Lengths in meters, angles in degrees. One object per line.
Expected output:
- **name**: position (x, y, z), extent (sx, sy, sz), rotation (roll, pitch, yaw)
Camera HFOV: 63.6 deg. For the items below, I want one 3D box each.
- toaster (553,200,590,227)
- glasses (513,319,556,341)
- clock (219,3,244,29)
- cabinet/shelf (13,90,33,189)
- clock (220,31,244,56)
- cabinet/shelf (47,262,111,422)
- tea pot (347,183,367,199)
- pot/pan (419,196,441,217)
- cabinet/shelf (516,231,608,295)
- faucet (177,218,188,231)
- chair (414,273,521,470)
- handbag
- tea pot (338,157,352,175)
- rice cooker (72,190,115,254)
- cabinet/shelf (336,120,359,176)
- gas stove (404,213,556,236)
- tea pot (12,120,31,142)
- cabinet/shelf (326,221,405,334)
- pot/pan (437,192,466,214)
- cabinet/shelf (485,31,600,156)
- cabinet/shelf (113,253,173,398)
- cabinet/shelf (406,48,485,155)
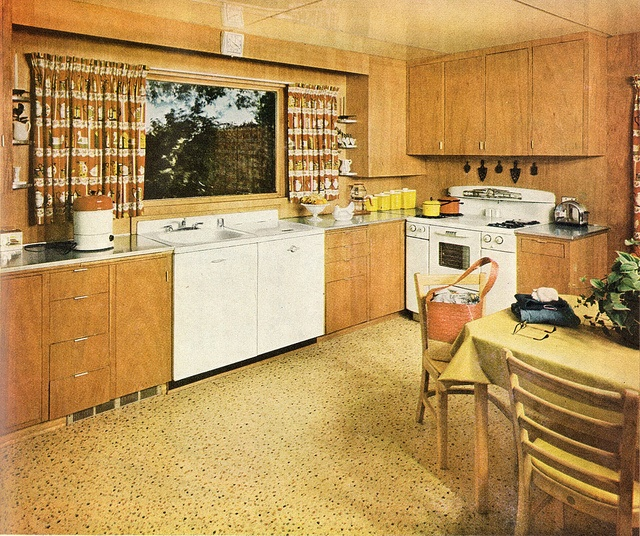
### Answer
- **toaster**: position (2.231, -0.476, 4.523), extent (0.111, 0.191, 0.254), rotation (-2, 4, -30)
- **glasses**: position (1.028, 0.299, 2.471), extent (0.115, 0.036, 0.114), rotation (-4, 12, -37)
- **clock**: position (-0.653, -1.934, 3.957), extent (0.112, 0.182, 0.226), rotation (-14, 20, -39)
- **cabinet/shelf**: position (-1.969, -0.846, 3.401), extent (0.111, 0.582, 0.261), rotation (-3, 14, -29)
- **clock**: position (-0.681, -1.760, 4.064), extent (0.058, 0.170, 0.223), rotation (11, 19, 39)
- **cabinet/shelf**: position (-1.545, 0.445, 3.307), extent (0.412, 0.879, 0.360), rotation (-4, 15, -44)
- **tea pot**: position (0.397, -0.793, 5.424), extent (0.172, 0.169, 0.176), rotation (0, 4, 0)
- **pot/pan**: position (1.114, -0.604, 5.168), extent (0.176, 0.140, 0.168), rotation (-7, 10, -39)
- **cabinet/shelf**: position (1.872, -0.049, 4.064), extent (0.566, 0.792, 0.487), rotation (-5, 7, -44)
- **faucet**: position (-1.105, -0.343, 4.138), extent (0.085, 0.080, 0.082), rotation (5, 7, 29)
- **chair**: position (0.780, 0.554, 3.069), extent (0.536, 0.975, 0.537), rotation (-2, 7, -14)
- **handbag**: position (0.831, 0.234, 2.929), extent (0.371, 0.600, 0.347), rotation (12, 15, 37)
- **tea pot**: position (0.258, -1.023, 5.221), extent (0.177, 0.164, 0.110), rotation (0, -2, -37)
- **rice cooker**: position (-1.525, -0.305, 3.458), extent (0.258, 0.345, 0.247), rotation (-7, 16, -20)
- **cabinet/shelf**: position (0.281, -1.238, 5.242), extent (0.197, 0.601, 0.206), rotation (-1, 15, 2)
- **gas stove**: position (1.474, -0.379, 4.963), extent (1.127, 0.208, 0.664), rotation (14, 21, 43)
- **tea pot**: position (-1.950, -0.883, 3.363), extent (0.111, 0.145, 0.259), rotation (-9, 17, -26)
- **cabinet/shelf**: position (0.400, 0.072, 4.827), extent (1.092, 0.935, 0.407), rotation (-5, 5, -40)
- **pot/pan**: position (1.337, -0.662, 5.239), extent (0.180, 0.159, 0.237), rotation (-9, 11, -44)
- **cabinet/shelf**: position (1.942, -1.495, 4.392), extent (0.366, 0.948, 1.027), rotation (-7, 9, -43)
- **cabinet/shelf**: position (-1.328, 0.392, 3.666), extent (0.411, 0.889, 0.346), rotation (-3, 15, -39)
- **cabinet/shelf**: position (1.272, -1.652, 5.078), extent (1.028, 0.988, 0.372), rotation (4, 8, 43)
